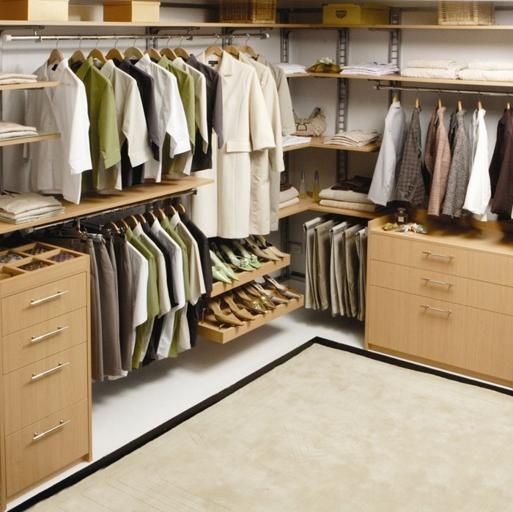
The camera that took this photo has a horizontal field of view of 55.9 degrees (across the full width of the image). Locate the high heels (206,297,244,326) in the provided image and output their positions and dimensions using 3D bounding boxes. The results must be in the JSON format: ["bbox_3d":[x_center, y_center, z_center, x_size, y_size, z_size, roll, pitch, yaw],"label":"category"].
[{"bbox_3d":[-0.207,0.339,3.080,0.291,0.119,0.099,19,23,32],"label":"high heels"}]

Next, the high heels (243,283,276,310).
[{"bbox_3d":[0.021,0.283,3.285,0.123,0.058,0.249,-22,42,-34],"label":"high heels"}]

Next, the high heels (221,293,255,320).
[{"bbox_3d":[-0.116,0.343,3.178,0.287,0.117,0.089,30,27,31],"label":"high heels"}]

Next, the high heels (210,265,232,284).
[{"bbox_3d":[-0.230,0.111,3.051,0.185,0.049,0.057,35,27,21],"label":"high heels"}]

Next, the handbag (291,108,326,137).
[{"bbox_3d":[0.457,-1.078,3.931,0.292,0.246,0.189,-5,18,-11],"label":"handbag"}]

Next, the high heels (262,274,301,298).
[{"bbox_3d":[0.159,0.223,3.521,0.331,0.094,0.117,29,26,24],"label":"high heels"}]
